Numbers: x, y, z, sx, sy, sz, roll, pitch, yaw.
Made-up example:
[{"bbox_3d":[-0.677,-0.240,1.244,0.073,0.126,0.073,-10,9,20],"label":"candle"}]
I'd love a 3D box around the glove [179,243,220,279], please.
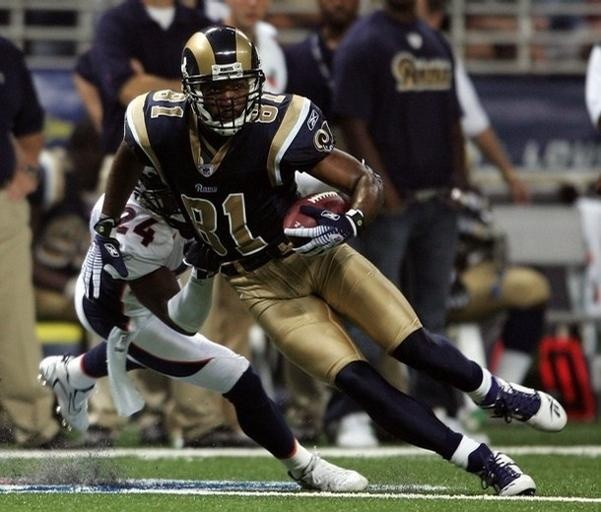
[{"bbox_3d":[-0.378,0.020,3.898,0.111,0.064,0.153,28,-10,-4],"label":"glove"}]

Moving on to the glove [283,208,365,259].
[{"bbox_3d":[0.083,-0.080,3.634,0.248,0.141,0.094,-15,-19,10],"label":"glove"}]

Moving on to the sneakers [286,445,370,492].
[{"bbox_3d":[0.092,0.850,4.020,0.312,0.118,0.111,-2,-8,23],"label":"sneakers"}]

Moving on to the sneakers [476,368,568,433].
[{"bbox_3d":[0.827,0.539,3.831,0.420,0.143,0.177,15,13,9],"label":"sneakers"}]

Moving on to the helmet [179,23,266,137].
[{"bbox_3d":[-0.303,-0.673,3.764,0.297,0.319,0.389,-8,26,-20],"label":"helmet"}]

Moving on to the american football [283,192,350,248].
[{"bbox_3d":[0.053,-0.149,3.705,0.154,0.139,0.240,40,49,24],"label":"american football"}]

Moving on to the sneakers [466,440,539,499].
[{"bbox_3d":[0.733,0.805,3.756,0.137,0.172,0.387,-4,-9,-24],"label":"sneakers"}]
